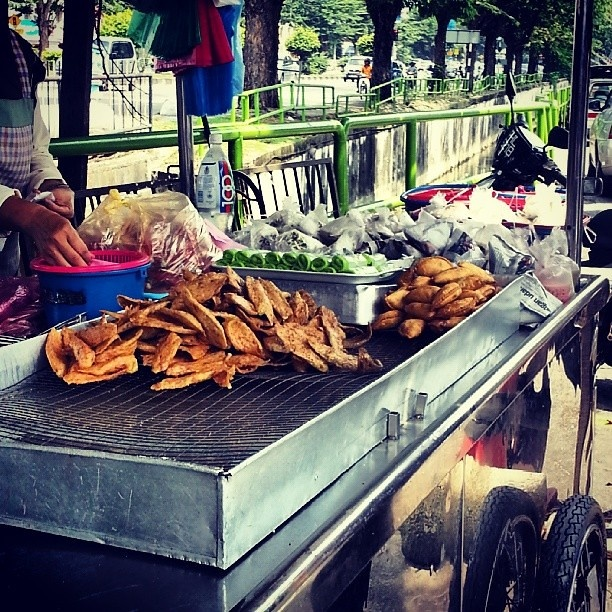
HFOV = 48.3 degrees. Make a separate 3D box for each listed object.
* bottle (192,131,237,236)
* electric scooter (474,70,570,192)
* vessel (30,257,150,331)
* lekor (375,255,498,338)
[{"bbox_3d":[-0.407,-0.542,3.023,0.169,0.431,0.362,-2,14,-5],"label":"bottle"},{"bbox_3d":[2.292,-1.648,7.160,0.799,0.872,0.734,3,15,16],"label":"electric scooter"},{"bbox_3d":[-0.504,-0.067,1.653,0.194,0.163,0.198,3,8,10],"label":"vessel"},{"bbox_3d":[0.301,-0.025,1.665,0.219,0.079,0.219,-25,20,-15],"label":"lekor"}]
